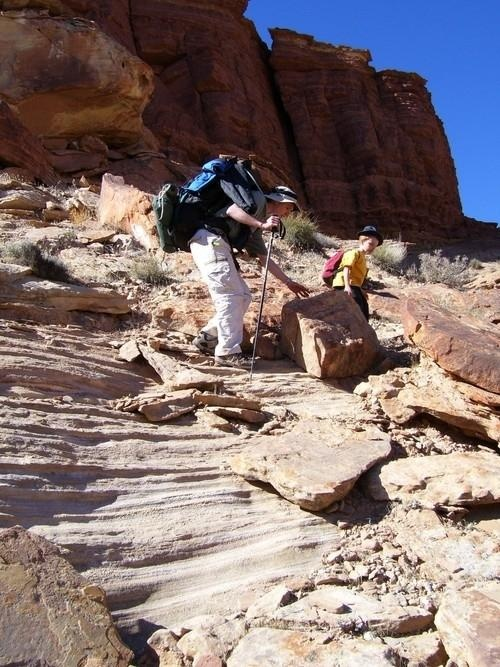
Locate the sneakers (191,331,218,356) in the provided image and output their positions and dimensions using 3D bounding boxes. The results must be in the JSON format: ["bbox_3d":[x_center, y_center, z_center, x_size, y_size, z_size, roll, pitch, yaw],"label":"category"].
[{"bbox_3d":[-0.327,0.079,4.718,0.225,0.144,0.123,38,-14,-34],"label":"sneakers"}]

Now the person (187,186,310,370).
[{"bbox_3d":[-0.025,-0.439,4.641,0.890,1.392,0.855,-11,-15,28],"label":"person"}]

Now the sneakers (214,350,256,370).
[{"bbox_3d":[-0.116,0.205,4.563,0.317,0.124,0.102,2,4,1],"label":"sneakers"}]
